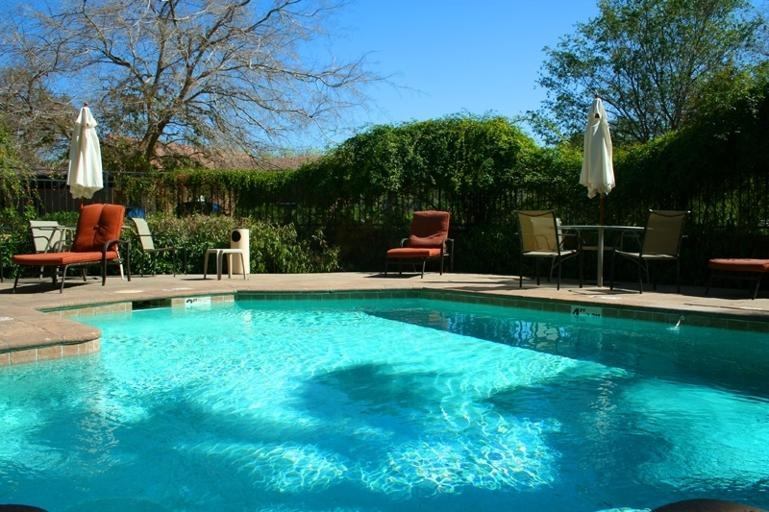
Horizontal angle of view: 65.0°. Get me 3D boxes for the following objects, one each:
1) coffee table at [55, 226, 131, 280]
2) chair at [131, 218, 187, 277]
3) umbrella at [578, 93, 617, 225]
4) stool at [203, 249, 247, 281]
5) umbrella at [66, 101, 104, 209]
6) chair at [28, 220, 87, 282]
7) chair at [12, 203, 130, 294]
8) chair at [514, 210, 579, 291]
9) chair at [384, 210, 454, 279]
[{"bbox_3d":[-5.194,-0.085,10.310,0.926,1.088,1.303,0,-1,15],"label":"coffee table"},{"bbox_3d":[-4.766,-0.167,12.649,0.801,1.171,1.738,-1,2,-19],"label":"chair"},{"bbox_3d":[3.602,-1.589,10.121,0.498,2.107,0.487,-2,3,-35],"label":"umbrella"},{"bbox_3d":[-3.124,0.121,11.957,0.773,0.551,0.753,2,-4,-31],"label":"stool"},{"bbox_3d":[-5.577,-1.964,11.178,0.575,1.744,0.758,-2,2,-26],"label":"umbrella"},{"bbox_3d":[-6.160,-0.155,11.381,0.816,0.638,0.603,1,-7,-34],"label":"chair"},{"bbox_3d":[-5.248,-0.190,10.168,1.165,1.204,1.688,1,8,13],"label":"chair"},{"bbox_3d":[3.022,-0.131,10.478,0.980,1.284,0.818,-3,2,-8],"label":"chair"},{"bbox_3d":[0.741,-0.237,12.484,1.088,1.300,1.614,2,7,20],"label":"chair"}]
